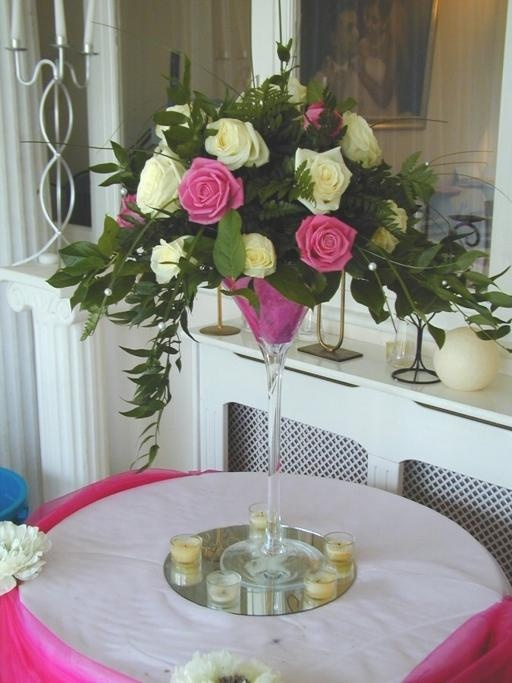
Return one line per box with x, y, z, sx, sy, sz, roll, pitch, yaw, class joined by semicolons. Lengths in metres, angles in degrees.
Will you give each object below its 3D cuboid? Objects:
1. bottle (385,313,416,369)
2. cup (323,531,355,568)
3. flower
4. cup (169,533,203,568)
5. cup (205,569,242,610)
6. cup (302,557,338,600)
0.321;0.009;1.399;0.059;0.103;0.109;4;11;18;bottle
0.128;0.325;0.997;0.045;0.045;0.049;0;2;0;cup
0.038;-0.074;0.848;0.581;0.607;0.316;-2;11;-7;flower
-0.110;0.327;0.997;0.041;0.027;0.041;1;11;0;cup
-0.046;0.363;0.938;0.046;0.044;0.041;0;4;-28;cup
0.102;0.353;0.949;0.042;0.028;0.040;0;5;0;cup
